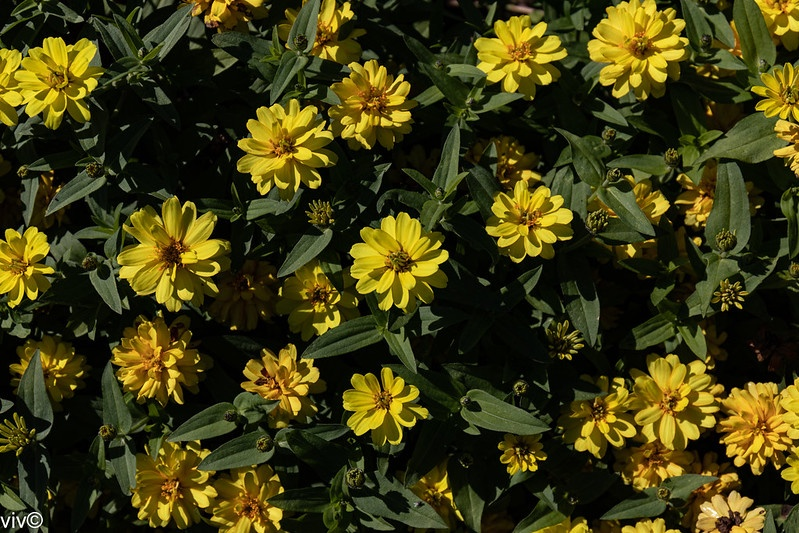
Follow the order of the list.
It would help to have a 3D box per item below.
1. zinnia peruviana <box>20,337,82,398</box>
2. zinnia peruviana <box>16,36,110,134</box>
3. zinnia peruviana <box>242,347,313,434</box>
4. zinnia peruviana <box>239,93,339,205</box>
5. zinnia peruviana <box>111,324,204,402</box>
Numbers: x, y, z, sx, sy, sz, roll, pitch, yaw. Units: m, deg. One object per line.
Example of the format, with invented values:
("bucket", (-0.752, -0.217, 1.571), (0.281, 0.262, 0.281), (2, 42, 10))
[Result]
("zinnia peruviana", (-1.840, 0.553, 4.208), (0.324, 0.303, 0.232), (-13, 8, -20))
("zinnia peruviana", (-1.705, -0.915, 3.878), (0.433, 0.148, 0.459), (9, 61, 43))
("zinnia peruviana", (-0.623, 0.564, 3.988), (0.379, 0.137, 0.391), (-17, 9, -23))
("zinnia peruviana", (-0.485, -0.592, 3.853), (0.139, 0.403, 0.395), (-18, 39, -32))
("zinnia peruviana", (-1.222, 0.495, 4.009), (0.445, 0.414, 0.150), (-51, -23, 16))
